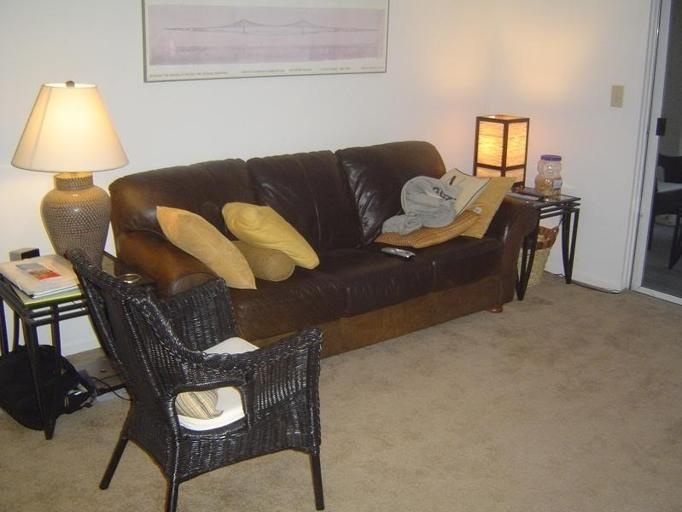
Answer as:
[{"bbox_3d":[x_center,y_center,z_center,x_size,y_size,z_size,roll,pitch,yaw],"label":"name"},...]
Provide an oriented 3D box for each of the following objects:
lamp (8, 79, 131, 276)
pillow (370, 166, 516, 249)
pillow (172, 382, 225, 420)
[{"bbox_3d":[-1.349,-0.425,2.942,0.394,0.862,0.406,12,26,32],"label":"lamp"},{"bbox_3d":[0.801,-0.273,3.853,0.657,0.226,0.622,20,59,25],"label":"pillow"},{"bbox_3d":[-0.539,0.558,2.191,0.156,0.061,0.127,-4,57,-12],"label":"pillow"}]
